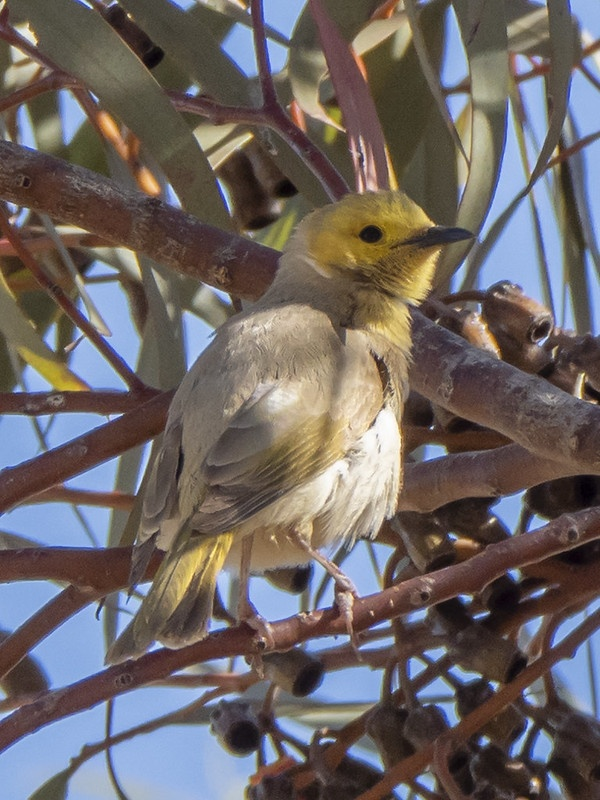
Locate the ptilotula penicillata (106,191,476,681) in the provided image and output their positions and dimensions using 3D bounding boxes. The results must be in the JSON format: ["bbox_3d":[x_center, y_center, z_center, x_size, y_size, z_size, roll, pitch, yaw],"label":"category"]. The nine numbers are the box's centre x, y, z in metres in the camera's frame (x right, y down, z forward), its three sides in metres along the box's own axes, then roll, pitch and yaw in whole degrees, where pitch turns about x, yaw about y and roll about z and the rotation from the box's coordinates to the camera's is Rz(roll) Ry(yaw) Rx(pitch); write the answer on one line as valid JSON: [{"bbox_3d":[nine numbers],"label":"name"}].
[{"bbox_3d":[-0.027,0.077,2.951,0.434,0.990,0.616,11,-54,3],"label":"ptilotula penicillata"}]
